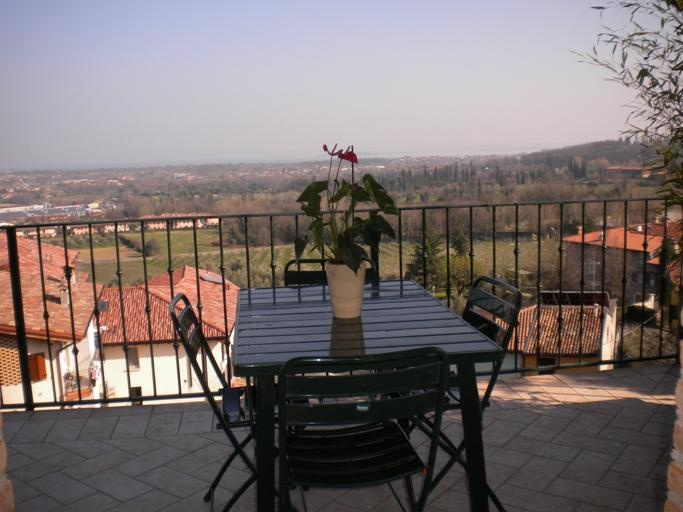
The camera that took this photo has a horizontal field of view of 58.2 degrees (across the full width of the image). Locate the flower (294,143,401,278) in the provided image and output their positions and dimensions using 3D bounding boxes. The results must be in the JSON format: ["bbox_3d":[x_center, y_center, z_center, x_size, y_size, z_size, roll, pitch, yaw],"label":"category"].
[{"bbox_3d":[0.031,-0.216,3.172,0.530,0.675,0.667,-5,6,-5],"label":"flower"}]

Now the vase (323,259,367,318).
[{"bbox_3d":[0.039,0.165,3.169,0.211,0.236,0.210,-4,3,-14],"label":"vase"}]
